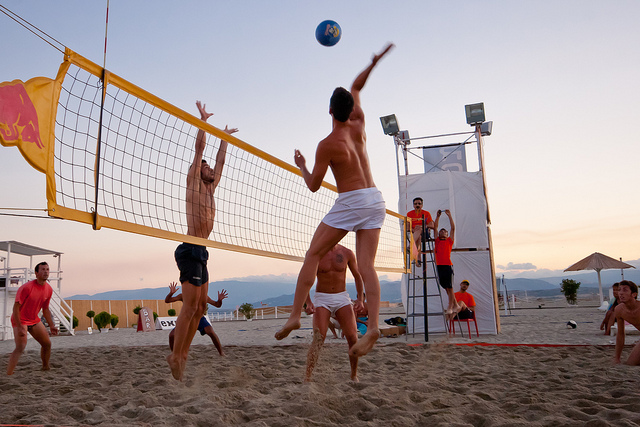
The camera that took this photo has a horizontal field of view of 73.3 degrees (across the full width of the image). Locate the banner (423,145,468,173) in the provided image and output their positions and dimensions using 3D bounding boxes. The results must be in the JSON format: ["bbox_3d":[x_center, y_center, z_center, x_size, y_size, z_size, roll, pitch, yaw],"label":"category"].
[{"bbox_3d":[3.455,-1.484,11.924,1.177,1.225,0.039,-2,-22,5],"label":"banner"}]

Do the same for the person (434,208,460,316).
[{"bbox_3d":[3.099,1.166,10.532,0.506,2.595,1.147,-5,-8,17],"label":"person"}]

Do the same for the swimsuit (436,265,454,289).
[{"bbox_3d":[3.012,1.490,10.378,0.367,0.649,0.425,15,-27,-40],"label":"swimsuit"}]

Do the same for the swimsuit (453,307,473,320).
[{"bbox_3d":[3.521,2.444,10.571,0.206,0.169,0.527,11,-33,-11],"label":"swimsuit"}]

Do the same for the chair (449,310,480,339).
[{"bbox_3d":[3.636,2.780,10.920,0.727,1.180,0.697,-1,-12,14],"label":"chair"}]

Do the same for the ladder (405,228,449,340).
[{"bbox_3d":[2.597,1.702,10.839,1.011,2.669,1.184,-4,-8,13],"label":"ladder"}]

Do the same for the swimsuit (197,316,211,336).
[{"bbox_3d":[-2.250,2.171,8.358,0.183,0.341,0.399,1,-8,-20],"label":"swimsuit"}]

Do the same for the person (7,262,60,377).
[{"bbox_3d":[-4.885,1.753,7.376,0.677,1.816,0.895,3,-9,-34],"label":"person"}]

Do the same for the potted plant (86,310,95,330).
[{"bbox_3d":[-10.416,4.794,19.509,0.331,0.880,1.702,2,-9,-27],"label":"potted plant"}]

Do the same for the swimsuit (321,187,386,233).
[{"bbox_3d":[0.545,-0.007,5.299,0.530,0.608,0.940,-3,-2,-12],"label":"swimsuit"}]

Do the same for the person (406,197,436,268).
[{"bbox_3d":[2.537,0.443,10.727,0.636,1.676,0.837,-8,-10,38],"label":"person"}]

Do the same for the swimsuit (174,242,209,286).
[{"bbox_3d":[-1.854,0.734,6.212,0.430,0.658,0.555,-3,-14,1],"label":"swimsuit"}]

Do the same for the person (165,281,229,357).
[{"bbox_3d":[-2.374,2.037,8.419,1.186,1.739,0.575,-3,-43,-19],"label":"person"}]

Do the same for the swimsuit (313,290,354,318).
[{"bbox_3d":[0.169,1.283,6.200,0.601,0.340,0.331,4,-5,-10],"label":"swimsuit"}]

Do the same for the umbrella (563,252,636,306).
[{"bbox_3d":[12.327,3.125,19.485,2.578,1.977,2.637,-3,-4,1],"label":"umbrella"}]

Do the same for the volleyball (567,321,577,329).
[{"bbox_3d":[6.417,2.783,10.971,0.176,0.183,0.181,5,20,34],"label":"volleyball"}]
